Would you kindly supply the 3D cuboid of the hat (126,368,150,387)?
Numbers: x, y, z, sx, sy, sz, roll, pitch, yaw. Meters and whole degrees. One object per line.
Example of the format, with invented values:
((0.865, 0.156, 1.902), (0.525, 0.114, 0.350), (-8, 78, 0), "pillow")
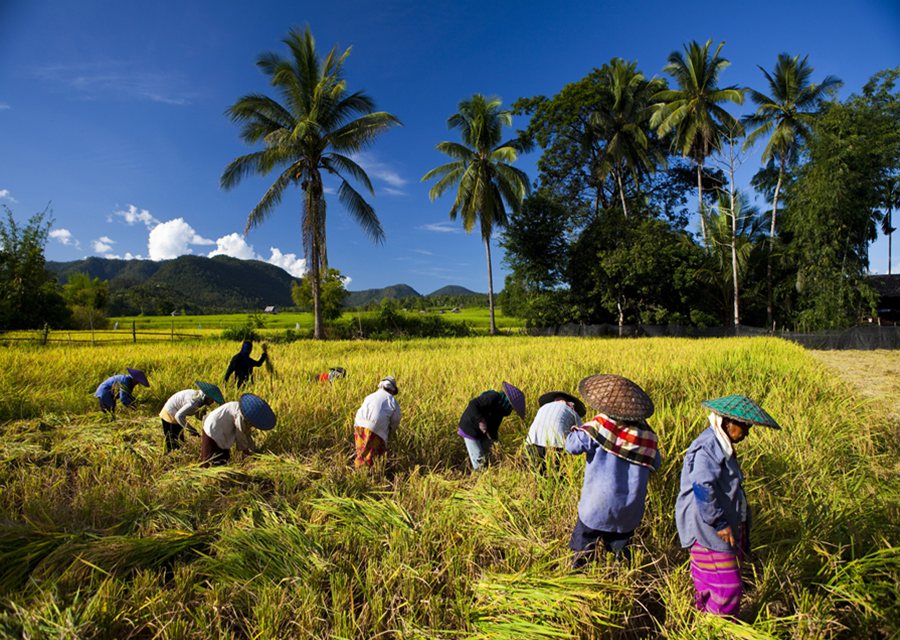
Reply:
((-6.122, 1.134, 12.413), (0.327, 0.118, 0.359), (23, -33, 15), "hat")

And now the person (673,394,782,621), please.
((3.403, 2.375, 8.107), (0.975, 2.831, 0.351), (0, -1, -1), "person")

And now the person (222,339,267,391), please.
((-4.422, 0.903, 13.733), (0.798, 0.923, 1.633), (0, 0, -6), "person")

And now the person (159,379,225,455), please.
((-4.397, 1.741, 10.766), (0.959, 1.404, 0.576), (5, 14, -17), "person")

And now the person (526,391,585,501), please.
((1.758, 1.804, 9.678), (0.837, 1.474, 0.783), (-4, -4, -13), "person")

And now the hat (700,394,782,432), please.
((3.624, 1.139, 8.066), (0.636, 0.201, 0.609), (18, -3, -42), "hat")

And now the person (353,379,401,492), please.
((-1.245, 1.747, 10.423), (0.589, 1.780, 0.582), (14, 16, 3), "person")

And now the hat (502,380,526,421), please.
((0.940, 1.284, 10.167), (0.124, 0.544, 0.495), (-28, 30, 7), "hat")

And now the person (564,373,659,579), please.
((2.168, 2.325, 8.754), (1.167, 3.096, 0.997), (6, 12, 2), "person")

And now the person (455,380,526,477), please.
((0.662, 1.721, 10.425), (1.057, 1.408, 0.780), (0, -1, 11), "person")

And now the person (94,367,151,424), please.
((-6.427, 1.325, 12.270), (0.848, 0.944, 0.492), (11, 19, -25), "person")

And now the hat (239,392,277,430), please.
((-2.956, 1.398, 9.680), (0.561, 0.515, 0.460), (0, 0, -6), "hat")

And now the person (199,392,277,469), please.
((-3.456, 1.842, 10.129), (0.973, 1.381, 0.607), (18, 20, -9), "person")
